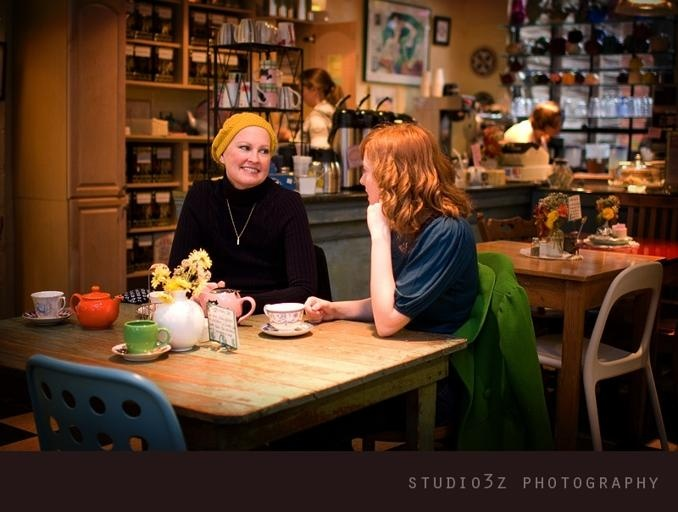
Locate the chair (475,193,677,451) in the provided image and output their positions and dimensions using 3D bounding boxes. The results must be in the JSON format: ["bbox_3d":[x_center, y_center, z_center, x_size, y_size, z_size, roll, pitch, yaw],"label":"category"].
[{"bbox_3d":[1.124,0.217,2.776,0.825,0.830,1.060,5,8,42],"label":"chair"}]

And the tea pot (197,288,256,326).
[{"bbox_3d":[-0.348,0.153,1.732,0.150,0.093,0.104,4,4,19],"label":"tea pot"}]

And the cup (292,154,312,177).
[{"bbox_3d":[-0.272,-0.662,4.093,0.138,0.194,0.154,2,5,37],"label":"cup"}]

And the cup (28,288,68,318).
[{"bbox_3d":[-0.922,0.150,1.761,0.104,0.077,0.086,0,-1,-44],"label":"cup"}]

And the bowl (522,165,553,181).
[{"bbox_3d":[2.025,-0.858,5.683,0.234,0.100,0.242,-2,7,0],"label":"bowl"}]

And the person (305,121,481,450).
[{"bbox_3d":[0.171,0.010,2.384,0.846,1.582,0.770,0,2,14],"label":"person"}]

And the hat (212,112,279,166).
[{"bbox_3d":[-0.400,-0.469,2.303,0.225,0.166,0.208,-21,42,-8],"label":"hat"}]

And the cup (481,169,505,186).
[{"bbox_3d":[1.509,-0.760,5.428,0.190,0.193,0.194,-1,2,0],"label":"cup"}]

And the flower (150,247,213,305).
[{"bbox_3d":[-0.491,0.060,1.636,0.190,0.143,0.175,-3,0,40],"label":"flower"}]

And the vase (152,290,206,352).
[{"bbox_3d":[-0.411,0.176,1.568,0.156,0.190,0.151,-2,0,3],"label":"vase"}]

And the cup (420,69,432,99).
[{"bbox_3d":[1.124,-2.188,7.029,0.126,0.337,0.267,2,10,10],"label":"cup"}]

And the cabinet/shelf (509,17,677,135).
[{"bbox_3d":[2.545,-1.858,5.525,1.209,1.098,0.403,9,24,33],"label":"cabinet/shelf"}]

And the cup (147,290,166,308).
[{"bbox_3d":[-0.526,0.122,1.590,0.053,0.040,0.055,-1,-4,0],"label":"cup"}]

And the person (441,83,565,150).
[{"bbox_3d":[1.876,-1.419,5.827,0.918,0.413,0.573,24,41,34],"label":"person"}]

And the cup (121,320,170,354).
[{"bbox_3d":[-0.505,0.211,1.454,0.076,0.086,0.108,3,11,14],"label":"cup"}]

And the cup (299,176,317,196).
[{"bbox_3d":[-0.214,-0.510,3.990,0.130,0.133,0.135,0,11,0],"label":"cup"}]

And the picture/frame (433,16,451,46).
[{"bbox_3d":[1.588,-3.527,8.574,0.048,0.485,0.474,5,8,43],"label":"picture/frame"}]

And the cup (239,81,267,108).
[{"bbox_3d":[-0.627,-1.157,3.938,0.210,0.216,0.138,3,9,14],"label":"cup"}]

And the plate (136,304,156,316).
[{"bbox_3d":[-0.580,0.166,1.664,0.053,0.020,0.055,0,10,-1],"label":"plate"}]

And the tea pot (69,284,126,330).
[{"bbox_3d":[-0.761,0.164,1.739,0.200,0.149,0.132,-1,-2,14],"label":"tea pot"}]
